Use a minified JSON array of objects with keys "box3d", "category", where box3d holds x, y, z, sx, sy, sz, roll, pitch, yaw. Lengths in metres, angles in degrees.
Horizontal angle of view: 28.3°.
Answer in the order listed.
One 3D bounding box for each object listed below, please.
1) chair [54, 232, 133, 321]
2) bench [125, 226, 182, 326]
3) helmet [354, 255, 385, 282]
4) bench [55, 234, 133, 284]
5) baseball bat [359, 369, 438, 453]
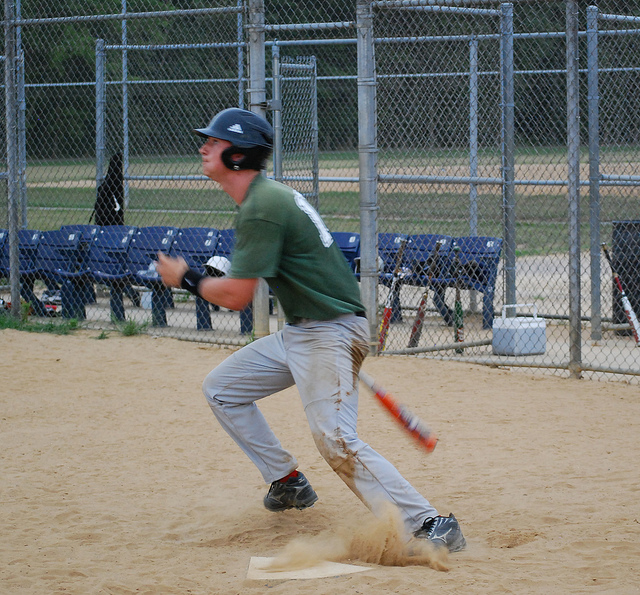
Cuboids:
[{"box3d":[-2.248,-0.263,12.780,0.612,0.864,0.575,12,14,24],"category":"chair"},{"box3d":[-1.694,-0.260,12.664,0.593,0.736,0.610,17,11,5],"category":"bench"},{"box3d":[0.459,-0.274,12.100,0.233,0.313,0.245,1,1,19],"category":"helmet"},{"box3d":[-2.240,-0.380,12.736,0.574,0.540,0.540,8,1,30],"category":"bench"},{"box3d":[0.440,0.638,7.431,0.726,0.093,0.124,45,-3,-23],"category":"baseball bat"}]
